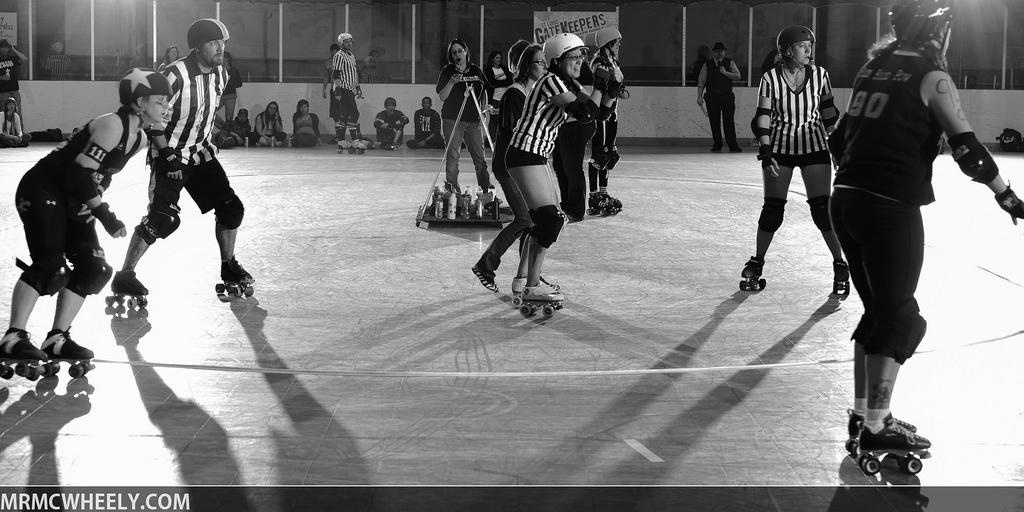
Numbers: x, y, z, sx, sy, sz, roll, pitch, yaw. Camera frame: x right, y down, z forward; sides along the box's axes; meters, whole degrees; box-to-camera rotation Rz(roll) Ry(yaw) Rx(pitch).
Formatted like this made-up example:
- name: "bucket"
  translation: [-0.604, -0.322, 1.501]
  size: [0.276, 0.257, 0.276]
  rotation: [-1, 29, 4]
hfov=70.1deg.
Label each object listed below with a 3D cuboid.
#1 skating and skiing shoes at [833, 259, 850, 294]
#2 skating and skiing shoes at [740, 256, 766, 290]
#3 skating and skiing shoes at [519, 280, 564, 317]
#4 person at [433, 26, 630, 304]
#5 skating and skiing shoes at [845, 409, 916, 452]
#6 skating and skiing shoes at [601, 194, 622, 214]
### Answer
- name: "skating and skiing shoes"
  translation: [3.331, 0.224, 7.382]
  size: [0.153, 0.157, 0.425]
  rotation: [5, 46, 8]
- name: "skating and skiing shoes"
  translation: [2.626, 0.215, 7.837]
  size: [0.180, 0.258, 0.511]
  rotation: [1, 2, 23]
- name: "skating and skiing shoes"
  translation: [0.218, 0.455, 7.057]
  size: [0.397, 0.201, 0.250]
  rotation: [2, -2, -10]
- name: "person"
  translation: [0.300, -0.860, 7.135]
  size: [1.376, 2.616, 0.867]
  rotation: [0, 12, -3]
- name: "skating and skiing shoes"
  translation: [2.365, 1.128, 4.641]
  size: [0.534, 0.182, 0.211]
  rotation: [0, 3, -2]
- name: "skating and skiing shoes"
  translation: [1.562, -0.766, 11.336]
  size: [0.392, 0.142, 0.250]
  rotation: [6, 20, 19]
